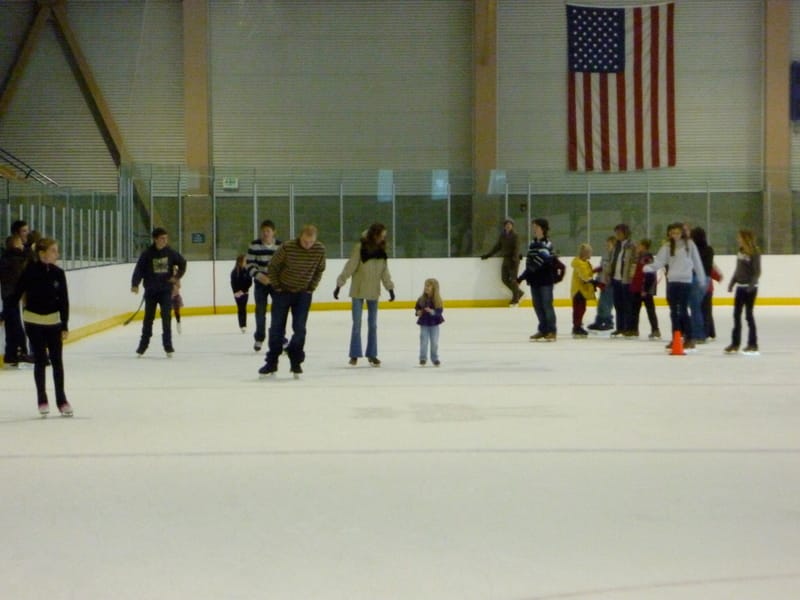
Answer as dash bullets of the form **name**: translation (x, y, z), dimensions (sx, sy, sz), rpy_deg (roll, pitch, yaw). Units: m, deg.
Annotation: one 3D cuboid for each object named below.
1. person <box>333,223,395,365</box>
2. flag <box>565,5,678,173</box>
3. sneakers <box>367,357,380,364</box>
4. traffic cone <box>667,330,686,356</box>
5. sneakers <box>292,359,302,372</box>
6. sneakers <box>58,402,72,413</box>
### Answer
- **person**: translation (-0.443, -0.048, 13.493), dimensions (0.697, 1.795, 1.215), rpy_deg (-2, 6, -1)
- **flag**: translation (5.488, -5.540, 27.369), dimensions (3.424, 5.259, 0.175), rpy_deg (-1, -1, -4)
- **sneakers**: translation (-0.339, 0.751, 13.476), dimensions (0.058, 0.087, 0.156), rpy_deg (0, -5, -39)
- **traffic cone**: translation (3.721, 0.582, 14.478), dimensions (0.302, 0.394, 0.313), rpy_deg (-1, 1, -26)
- **sneakers**: translation (-1.201, 0.753, 12.373), dimensions (0.127, 0.161, 0.130), rpy_deg (0, 0, 22)
- **sneakers**: translation (-3.152, 1.016, 10.147), dimensions (0.118, 0.118, 0.191), rpy_deg (-5, 6, -20)
